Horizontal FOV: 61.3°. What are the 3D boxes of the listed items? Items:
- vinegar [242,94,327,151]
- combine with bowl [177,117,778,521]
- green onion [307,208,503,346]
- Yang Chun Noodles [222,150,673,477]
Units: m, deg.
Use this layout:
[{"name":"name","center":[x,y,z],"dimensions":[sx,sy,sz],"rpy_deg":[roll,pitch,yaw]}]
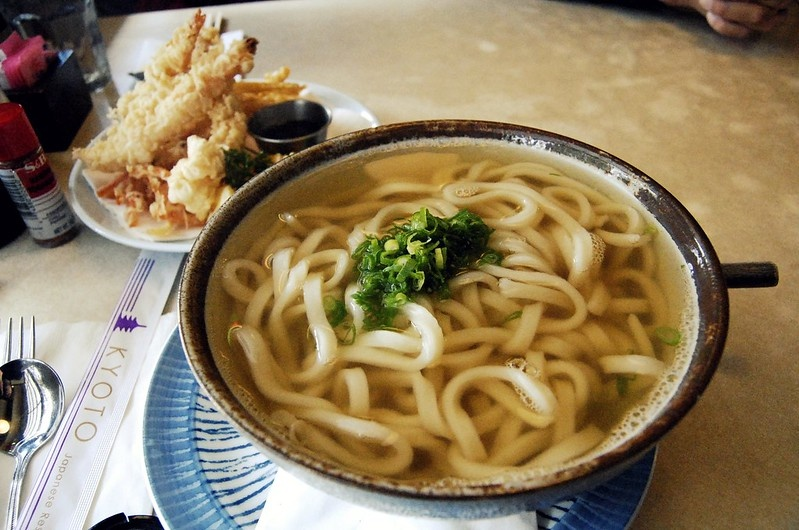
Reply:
[{"name":"vinegar","center":[-0.442,-0.618,2.951],"dimensions":[0.409,0.277,0.329],"rpy_deg":[15,26,33]},{"name":"combine with bowl","center":[0.141,0.067,1.953],"dimensions":[1.526,0.250,1.248],"rpy_deg":[-8,67,-7]},{"name":"green onion","center":[0.014,0.013,2.040],"dimensions":[0.338,0.205,0.511],"rpy_deg":[38,82,9]},{"name":"Yang Chun Noodles","center":[0.166,0.037,2.466],"dimensions":[1.486,1.173,0.887],"rpy_deg":[-2,106,2]}]
